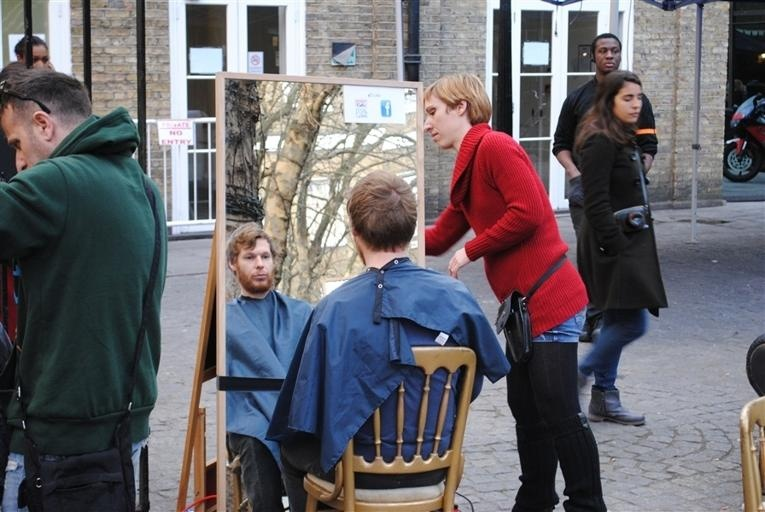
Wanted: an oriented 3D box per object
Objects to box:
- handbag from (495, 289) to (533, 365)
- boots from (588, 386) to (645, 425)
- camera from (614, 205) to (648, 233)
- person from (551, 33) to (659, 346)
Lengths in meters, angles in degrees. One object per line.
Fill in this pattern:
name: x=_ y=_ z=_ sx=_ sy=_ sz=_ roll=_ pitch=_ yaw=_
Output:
handbag: x=0.821 y=0.429 z=6.580 sx=0.136 sy=0.421 sz=0.347 roll=4 pitch=-18 yaw=-8
boots: x=1.835 y=1.171 z=8.390 sx=0.435 sy=0.302 sz=0.211 roll=0 pitch=3 yaw=14
camera: x=1.874 y=-0.278 z=8.078 sx=0.173 sy=0.132 sz=0.218 roll=-2 pitch=-6 yaw=-40
person: x=2.194 y=-0.545 z=10.106 sx=1.026 sy=3.375 sz=0.857 roll=6 pitch=36 yaw=21
